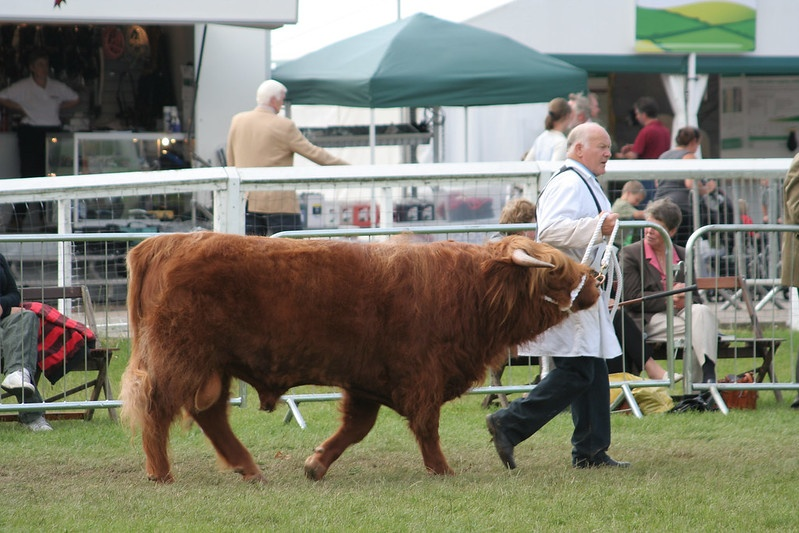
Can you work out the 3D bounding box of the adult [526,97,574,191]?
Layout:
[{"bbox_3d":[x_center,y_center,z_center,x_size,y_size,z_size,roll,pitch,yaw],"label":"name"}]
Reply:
[{"bbox_3d":[2.158,-1.501,30.422,0.504,1.549,0.839,-4,14,-27],"label":"adult"}]

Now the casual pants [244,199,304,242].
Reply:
[{"bbox_3d":[-1.695,-0.536,28.041,0.540,0.351,0.538,0,4,-19],"label":"casual pants"}]

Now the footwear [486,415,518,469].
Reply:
[{"bbox_3d":[1.164,2.128,25.331,0.311,0.741,0.255,-17,3,3],"label":"footwear"}]

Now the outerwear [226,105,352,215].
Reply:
[{"bbox_3d":[-1.539,-1.340,28.857,1.498,2.647,0.900,5,10,35],"label":"outerwear"}]

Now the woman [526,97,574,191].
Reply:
[{"bbox_3d":[2.145,-1.526,30.413,0.496,1.515,0.824,-5,17,-27],"label":"woman"}]
